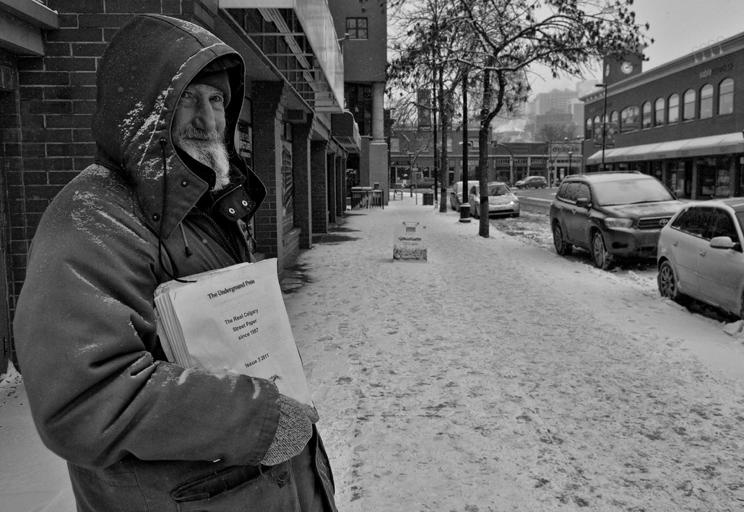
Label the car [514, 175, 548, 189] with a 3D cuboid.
[{"bbox_3d":[21.036,-9.591,80.354,3.212,1.429,6.176,2,8,19],"label":"car"}]

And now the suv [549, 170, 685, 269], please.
[{"bbox_3d":[5.410,-0.835,13.658,1.519,1.589,3.169,-2,5,0],"label":"suv"}]

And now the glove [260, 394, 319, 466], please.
[{"bbox_3d":[-0.319,0.633,2.361,0.083,0.214,0.267,4,41,38],"label":"glove"}]

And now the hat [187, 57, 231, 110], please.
[{"bbox_3d":[-0.680,-0.737,2.615,0.124,0.158,0.178,3,25,-47],"label":"hat"}]
